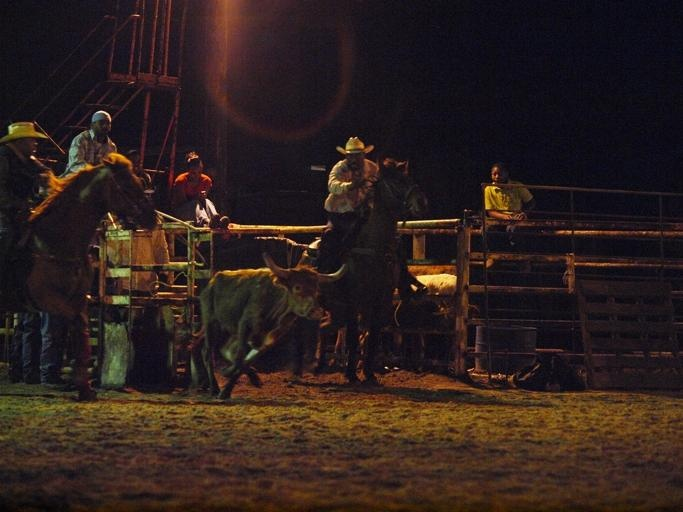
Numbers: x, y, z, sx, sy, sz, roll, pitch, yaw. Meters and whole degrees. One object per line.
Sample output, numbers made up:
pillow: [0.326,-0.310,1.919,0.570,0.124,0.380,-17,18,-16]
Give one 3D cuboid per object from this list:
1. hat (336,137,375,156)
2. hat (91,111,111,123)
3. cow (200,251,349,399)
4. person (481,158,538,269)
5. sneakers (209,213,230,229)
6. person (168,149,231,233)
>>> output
hat: [0.204,-1.612,12.490,0.639,0.299,0.711,0,1,2]
hat: [-3.640,-2.100,12.552,0.244,0.188,0.352,-1,5,-23]
cow: [-1.203,0.899,11.273,1.913,2.007,1.184,3,5,26]
person: [2.737,-0.699,13.842,0.819,1.768,1.181,-7,-1,34]
sneakers: [-1.836,-0.504,12.417,0.274,0.201,0.323,0,5,-14]
person: [-2.391,-1.093,14.124,0.673,1.284,1.226,-3,13,-41]
